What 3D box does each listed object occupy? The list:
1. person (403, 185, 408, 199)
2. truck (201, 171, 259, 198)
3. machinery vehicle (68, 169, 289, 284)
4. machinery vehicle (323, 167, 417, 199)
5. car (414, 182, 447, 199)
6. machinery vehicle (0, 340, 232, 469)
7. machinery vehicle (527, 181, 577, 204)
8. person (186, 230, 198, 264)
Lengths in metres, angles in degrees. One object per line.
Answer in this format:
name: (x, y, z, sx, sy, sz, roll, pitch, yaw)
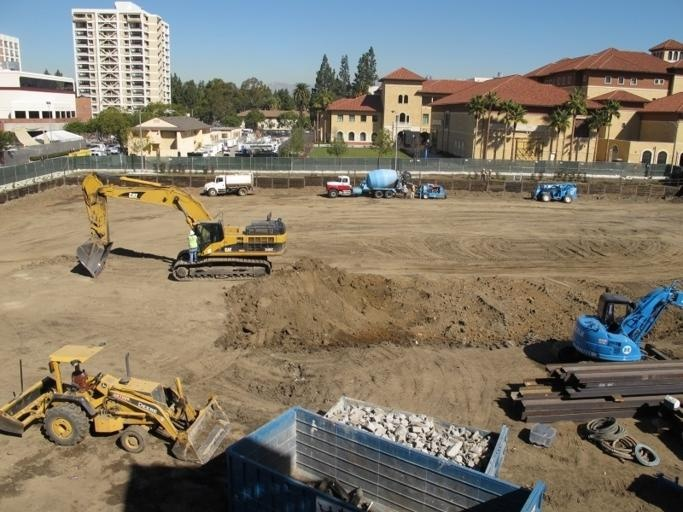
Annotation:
person: (5.643, -5.578, 48.538, 0.263, 0.925, 0.652, -6, 2, 20)
truck: (-9.696, -6.316, 49.086, 4.132, 2.114, 2.197, 1, 10, -5)
machinery vehicle: (-7.288, -1.610, 29.049, 11.006, 6.018, 4.521, 1, 11, -2)
machinery vehicle: (2.633, -6.325, 49.206, 7.412, 2.706, 3.212, 2, 21, 3)
car: (7.767, -5.589, 48.364, 2.100, 1.060, 1.446, 0, 9, 18)
machinery vehicle: (-6.257, 3.931, 16.192, 7.031, 2.718, 2.845, 3, 21, 2)
machinery vehicle: (18.304, -5.422, 47.453, 2.964, 1.449, 2.342, 0, 13, 9)
person: (-7.120, -0.449, 26.535, 0.495, 1.583, 0.459, 8, 17, 27)
